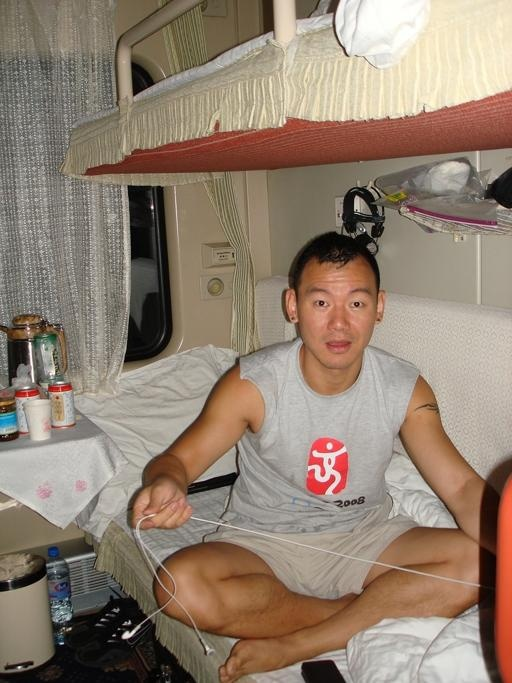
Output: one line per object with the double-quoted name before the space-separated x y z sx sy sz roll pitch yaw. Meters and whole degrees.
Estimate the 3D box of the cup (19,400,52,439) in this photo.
"cup" -0.759 0.270 1.875 0.079 0.140 0.105 -2 4 3

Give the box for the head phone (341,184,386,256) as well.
"head phone" 0.439 -0.517 2.209 0.225 0.221 0.169 22 28 37

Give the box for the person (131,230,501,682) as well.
"person" 0.115 0.224 1.389 0.878 1.039 0.592 -4 5 -14

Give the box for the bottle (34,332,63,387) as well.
"bottle" -0.815 0.067 2.088 0.103 0.205 0.181 -4 5 -21

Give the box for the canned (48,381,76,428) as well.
"canned" -0.715 0.231 1.956 0.085 0.173 0.109 -5 5 -22
